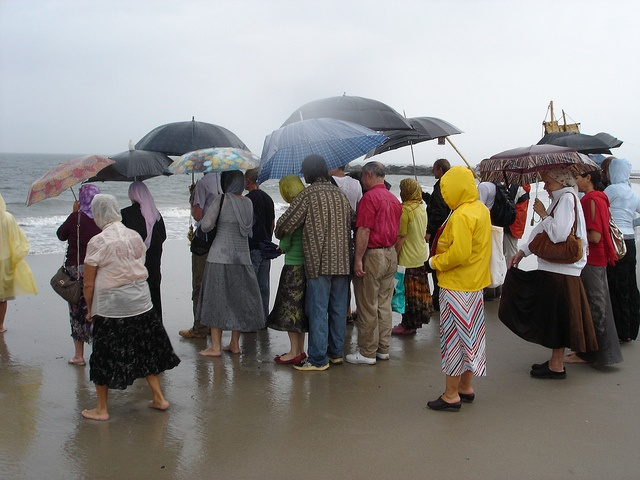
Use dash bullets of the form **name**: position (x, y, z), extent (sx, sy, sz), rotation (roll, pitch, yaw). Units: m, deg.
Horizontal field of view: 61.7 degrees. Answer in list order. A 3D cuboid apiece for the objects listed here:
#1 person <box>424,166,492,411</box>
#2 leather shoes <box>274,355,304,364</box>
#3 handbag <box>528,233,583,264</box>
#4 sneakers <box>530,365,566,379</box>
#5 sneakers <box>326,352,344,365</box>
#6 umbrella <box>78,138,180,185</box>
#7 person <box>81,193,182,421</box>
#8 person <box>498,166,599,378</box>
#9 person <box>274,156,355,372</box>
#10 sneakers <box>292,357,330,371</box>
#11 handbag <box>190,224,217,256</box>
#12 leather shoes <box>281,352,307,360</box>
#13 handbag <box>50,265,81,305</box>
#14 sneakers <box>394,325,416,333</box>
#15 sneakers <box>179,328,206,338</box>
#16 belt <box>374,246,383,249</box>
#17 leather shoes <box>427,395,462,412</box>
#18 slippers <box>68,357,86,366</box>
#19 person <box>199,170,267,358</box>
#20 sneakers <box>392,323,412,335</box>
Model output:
- **person**: position (1.271, 0.456, 4.889), extent (0.542, 2.217, 0.401), rotation (3, 10, 17)
- **leather shoes**: position (-0.335, 1.314, 5.937), extent (0.329, 0.144, 0.124), rotation (3, -3, 6)
- **handbag**: position (2.416, 0.030, 5.434), extent (0.448, 0.482, 0.240), rotation (5, -9, 38)
- **sneakers**: position (2.368, 1.385, 5.528), extent (0.252, 0.109, 0.162), rotation (3, -6, 7)
- **sneakers**: position (0.174, 1.318, 5.884), extent (0.174, 0.084, 0.074), rotation (0, 3, 41)
- **umbrella**: position (-2.168, -0.888, 6.225), extent (0.967, 0.561, 1.018), rotation (-2, 11, 7)
- **person**: position (-1.781, 0.580, 4.970), extent (0.733, 2.007, 0.807), rotation (-4, 5, -37)
- **person**: position (2.393, 0.350, 5.487), extent (0.937, 2.145, 0.498), rotation (6, 11, 29)
- **person**: position (-0.034, 0.259, 5.640), extent (0.698, 2.280, 0.315), rotation (-1, 10, -5)
- **sneakers**: position (-0.101, 1.333, 5.798), extent (0.354, 0.156, 0.137), rotation (3, -8, 0)
- **handbag**: position (-1.354, 0.006, 6.253), extent (0.256, 0.379, 0.192), rotation (18, 12, 24)
- **leather shoes**: position (-0.282, 1.295, 5.935), extent (0.277, 0.110, 0.104), rotation (0, 1, 7)
- **handbag**: position (-2.643, 0.451, 5.548), extent (0.345, 0.253, 0.137), rotation (34, 12, 20)
- **sneakers**: position (1.099, 1.167, 6.873), extent (0.267, 0.136, 0.112), rotation (4, 0, 16)
- **sneakers**: position (-1.605, 1.187, 6.668), extent (0.273, 0.132, 0.129), rotation (8, -2, -5)
- **belt**: position (0.645, 0.080, 5.716), extent (0.091, 0.031, 0.015), rotation (-4, 11, -18)
- **leather shoes**: position (1.166, 1.524, 5.001), extent (0.284, 0.133, 0.119), rotation (3, -5, 5)
- **slippers**: position (-2.682, 1.329, 5.886), extent (0.165, 0.074, 0.084), rotation (9, 1, 15)
- **person**: position (-1.021, 0.282, 5.981), extent (0.766, 2.075, 0.339), rotation (-3, 10, -14)
- **sneakers**: position (1.061, 1.142, 6.900), extent (0.248, 0.125, 0.111), rotation (4, 1, 25)
